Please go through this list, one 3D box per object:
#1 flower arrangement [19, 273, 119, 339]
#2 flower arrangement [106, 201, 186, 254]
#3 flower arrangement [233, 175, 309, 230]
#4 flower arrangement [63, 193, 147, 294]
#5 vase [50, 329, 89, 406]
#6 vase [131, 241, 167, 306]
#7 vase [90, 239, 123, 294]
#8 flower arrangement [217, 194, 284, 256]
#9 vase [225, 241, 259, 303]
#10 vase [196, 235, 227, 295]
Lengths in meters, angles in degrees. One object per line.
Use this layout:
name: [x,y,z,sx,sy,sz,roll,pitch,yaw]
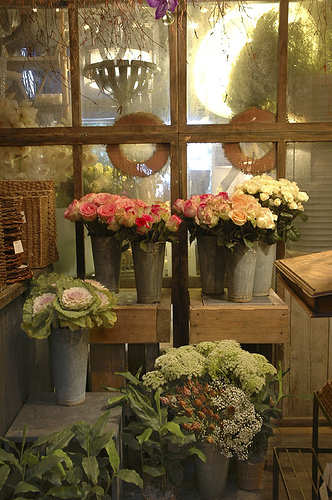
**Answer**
flower arrangement: [-0.341,0.197,1.395,0.322,0.202,0.289,-1,9,-8]
flower arrangement: [-0.066,-0.104,1.695,0.228,0.129,0.227,0,-6,-24]
flower arrangement: [0.457,-0.234,1.755,0.257,0.185,0.266,20,2,32]
flower arrangement: [-0.241,-0.052,1.949,0.412,0.543,0.511,-2,6,-5]
vase: [-0.348,0.420,1.408,0.131,0.320,0.127,-2,9,-11]
vase: [-0.074,0.102,1.727,0.152,0.290,0.148,-3,9,-16]
vase: [-0.276,0.079,1.813,0.133,0.274,0.101,-2,9,-12]
flower arrangement: [0.330,-0.123,1.667,0.249,0.218,0.255,20,34,18]
vase: [0.325,0.097,1.693,0.135,0.282,0.100,0,9,2]
vase: [0.210,0.074,1.832,0.131,0.293,0.101,0,9,3]
